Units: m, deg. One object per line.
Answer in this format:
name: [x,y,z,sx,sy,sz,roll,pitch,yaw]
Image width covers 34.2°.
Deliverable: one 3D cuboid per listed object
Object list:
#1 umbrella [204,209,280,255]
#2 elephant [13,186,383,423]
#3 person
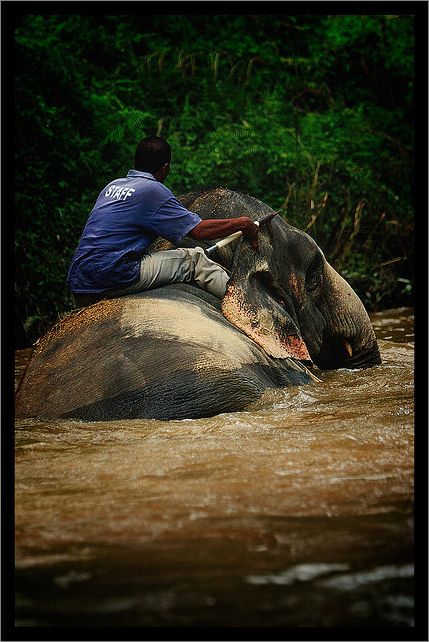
umbrella: [0.146,-0.542,4.251,0.804,0.074,0.077,-20,8,-15]
elephant: [0.096,-0.101,4.201,1.051,1.144,2.472,6,6,39]
person: [-0.346,-0.591,4.251,1.257,0.942,0.777,-10,21,-39]
